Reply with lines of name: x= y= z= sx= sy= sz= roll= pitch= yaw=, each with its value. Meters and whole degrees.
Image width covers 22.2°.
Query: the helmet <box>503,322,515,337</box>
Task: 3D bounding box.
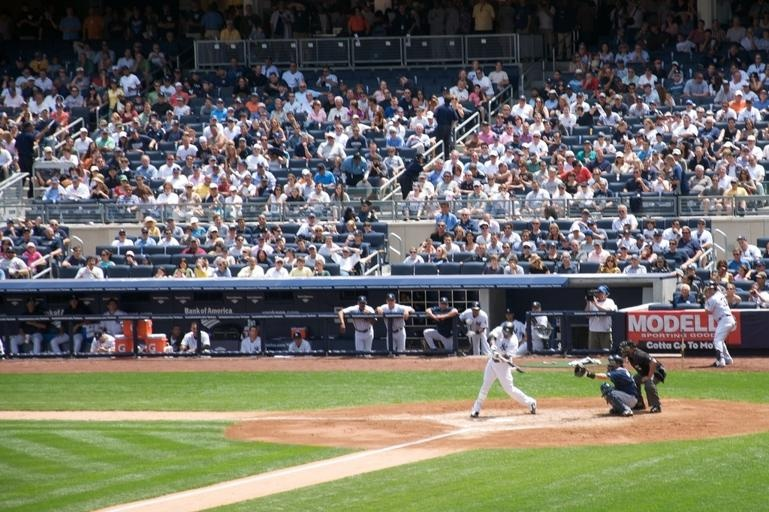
helmet: x=3.510 y=2.131 z=56.074 sx=0.292 sy=0.425 sz=0.376 roll=-2 pitch=-4 yaw=2

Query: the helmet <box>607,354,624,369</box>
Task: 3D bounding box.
helmet: x=6.623 y=3.079 z=56.394 sx=0.374 sy=0.387 sz=0.299 roll=-26 pitch=18 yaw=-2

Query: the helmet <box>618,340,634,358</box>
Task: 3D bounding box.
helmet: x=6.975 y=2.704 z=56.494 sx=0.321 sy=0.403 sz=0.406 roll=10 pitch=29 yaw=44
